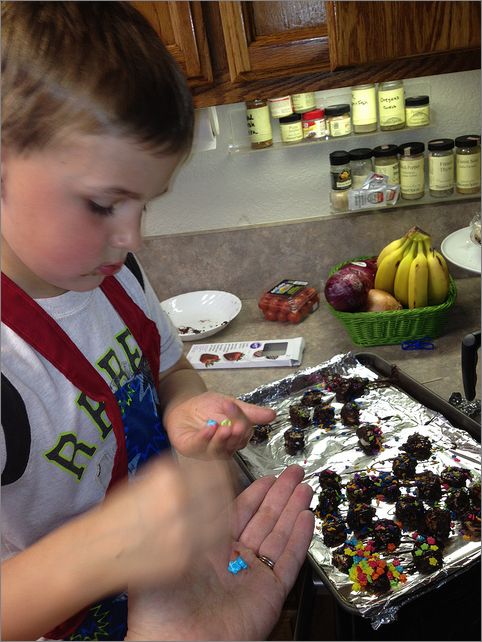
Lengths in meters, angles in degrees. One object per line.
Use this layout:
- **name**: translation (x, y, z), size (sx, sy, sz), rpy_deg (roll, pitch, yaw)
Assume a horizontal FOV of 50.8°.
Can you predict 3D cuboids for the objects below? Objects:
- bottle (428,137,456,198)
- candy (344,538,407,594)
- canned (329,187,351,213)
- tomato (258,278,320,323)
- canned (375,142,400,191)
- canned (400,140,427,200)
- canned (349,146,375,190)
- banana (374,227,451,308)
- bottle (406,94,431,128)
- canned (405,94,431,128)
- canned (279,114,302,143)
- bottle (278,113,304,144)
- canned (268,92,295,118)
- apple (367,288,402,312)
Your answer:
- **bottle**: translation (0.535, -0.407, 1.353), size (0.064, 0.152, 0.074), rpy_deg (-2, 22, 20)
- **candy**: translation (0.197, 0.356, 0.749), size (0.081, 0.029, 0.108), rpy_deg (-5, 18, 6)
- **canned**: translation (0.290, -0.348, 1.460), size (0.035, 0.065, 0.080), rpy_deg (-19, 22, -24)
- **tomato**: translation (0.140, -0.065, 1.550), size (0.147, 0.065, 0.142), rpy_deg (-35, 26, -19)
- **canned**: translation (0.399, -0.425, 1.378), size (0.072, 0.105, 0.066), rpy_deg (-7, 20, 6)
- **canned**: translation (0.460, -0.400, 1.367), size (0.063, 0.146, 0.057), rpy_deg (-1, 22, 22)
- **canned**: translation (0.334, -0.423, 1.399), size (0.064, 0.106, 0.058), rpy_deg (-5, 21, 11)
- **banana**: translation (0.464, -0.136, 1.335), size (0.170, 0.203, 0.154), rpy_deg (-12, 28, -6)
- **bottle**: translation (0.446, -0.529, 1.277), size (0.064, 0.066, 0.065), rpy_deg (-32, 37, -17)
- **canned**: translation (0.445, -0.529, 1.277), size (0.059, 0.060, 0.060), rpy_deg (-32, 37, -17)
- **canned**: translation (0.133, -0.519, 1.371), size (0.075, 0.072, 0.068), rpy_deg (-10, 34, -5)
- **bottle**: translation (0.134, -0.519, 1.370), size (0.080, 0.076, 0.072), rpy_deg (-10, 34, -4)
- **canned**: translation (0.105, -0.566, 1.335), size (0.061, 0.052, 0.057), rpy_deg (-28, 36, -5)
- **apple**: translation (0.369, -0.050, 1.324), size (0.083, 0.060, 0.063), rpy_deg (2, 62, -3)
